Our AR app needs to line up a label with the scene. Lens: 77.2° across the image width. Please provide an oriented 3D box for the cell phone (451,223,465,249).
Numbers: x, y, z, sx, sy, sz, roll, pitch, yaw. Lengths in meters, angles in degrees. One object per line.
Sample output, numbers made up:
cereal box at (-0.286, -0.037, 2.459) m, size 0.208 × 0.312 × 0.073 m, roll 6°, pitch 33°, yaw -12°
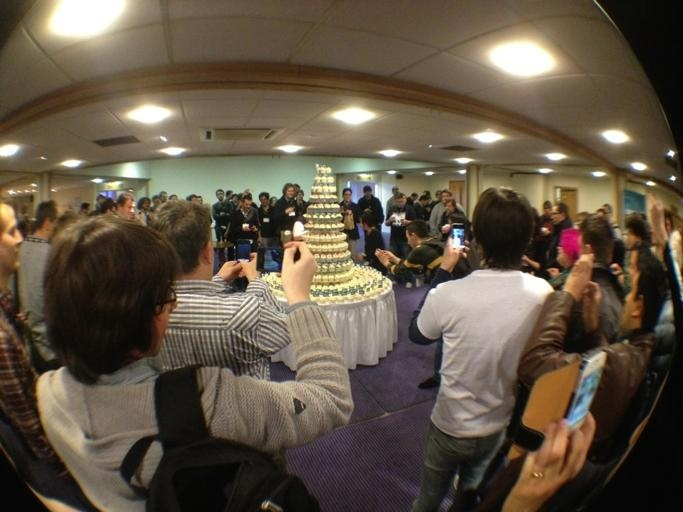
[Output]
cell phone at (0.333, -0.061, 1.227) m, size 0.041 × 0.068 × 0.025 m, roll 0°, pitch 7°, yaw 11°

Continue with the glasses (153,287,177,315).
glasses at (-0.432, 0.108, 1.056) m, size 0.031 × 0.054 × 0.039 m, roll 3°, pitch -8°, yaw 8°

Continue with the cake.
cake at (-0.059, -0.024, 2.167) m, size 0.465 × 0.540 × 0.492 m, roll -2°, pitch 11°, yaw -2°

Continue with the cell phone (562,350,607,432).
cell phone at (0.711, 0.387, 1.263) m, size 0.042 × 0.308 × 0.170 m, roll 24°, pitch 38°, yaw 36°
